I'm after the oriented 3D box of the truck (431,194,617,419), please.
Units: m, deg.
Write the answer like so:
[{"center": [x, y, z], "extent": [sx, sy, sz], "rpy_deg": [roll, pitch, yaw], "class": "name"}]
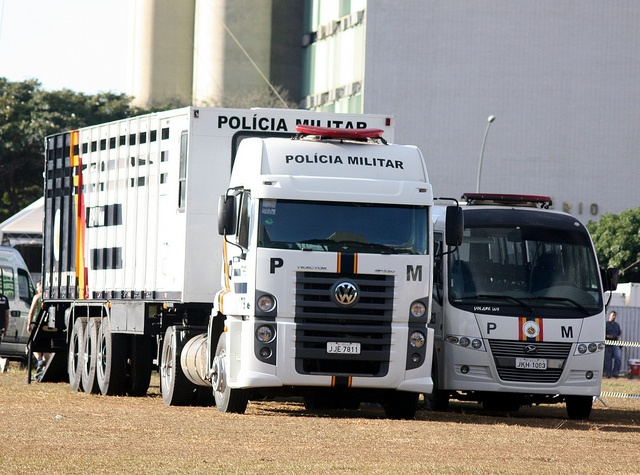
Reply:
[{"center": [4.162, 1.379, 27.944], "extent": [2.671, 3.247, 5.105], "rpy_deg": [1, -7, -5], "class": "truck"}]
